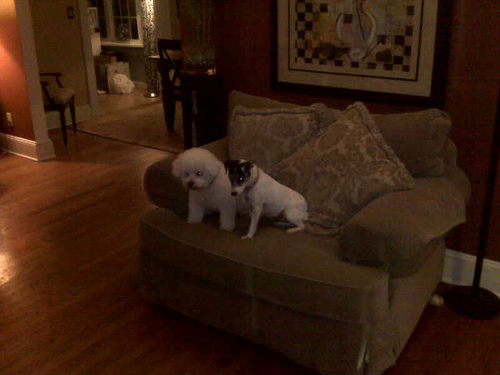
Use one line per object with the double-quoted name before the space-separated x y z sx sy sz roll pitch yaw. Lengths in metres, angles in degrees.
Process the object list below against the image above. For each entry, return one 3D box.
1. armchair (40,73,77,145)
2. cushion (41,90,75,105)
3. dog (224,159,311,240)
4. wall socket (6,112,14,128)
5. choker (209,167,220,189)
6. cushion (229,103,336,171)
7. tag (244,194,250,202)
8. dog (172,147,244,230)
"armchair" -2.541 -1.074 5.789 0.526 0.723 0.530 -15 32 -32
"cushion" -2.472 -1.160 5.621 0.232 0.066 0.264 2 27 3
"dog" 0.107 0.062 2.575 0.499 0.448 0.247 -5 9 -24
"wall socket" -2.928 -0.833 5.399 0.125 0.235 0.024 18 29 26
"choker" -0.208 -0.037 2.606 0.018 0.081 0.075 30 25 -1
"cushion" 0.184 -0.337 2.910 0.519 0.460 0.183 1 -9 19
"tag" -0.020 0.061 2.498 0.008 0.032 0.029 -4 5 -44
"dog" -0.213 -0.020 2.736 0.296 0.510 0.475 15 33 37
